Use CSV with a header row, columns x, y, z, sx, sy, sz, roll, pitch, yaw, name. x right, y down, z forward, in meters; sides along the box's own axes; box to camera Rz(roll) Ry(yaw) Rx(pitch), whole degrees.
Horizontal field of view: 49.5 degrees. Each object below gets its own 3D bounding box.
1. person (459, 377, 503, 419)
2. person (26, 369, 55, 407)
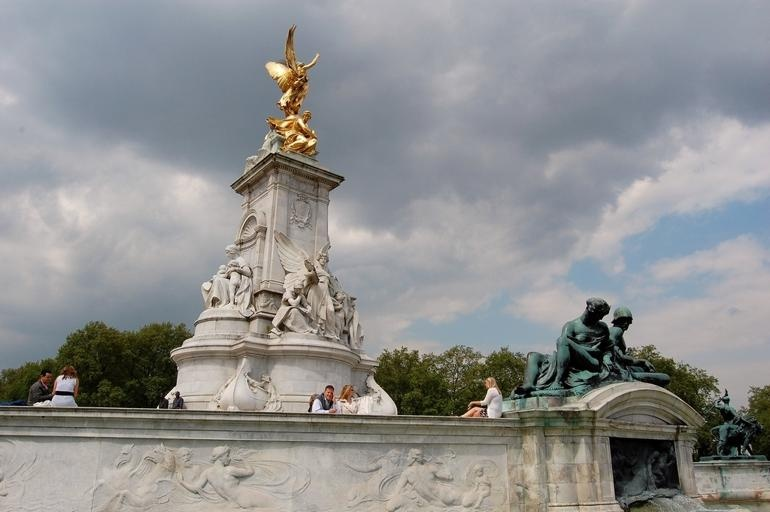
x,y,z,sx,sy,sz,roll,pitch,yaw,name
2.996,4.333,25.627,1.039,1.212,1.387,4,-6,-18,person
-10.672,4.030,25.714,0.642,1.026,2.885,4,-7,-23,person
